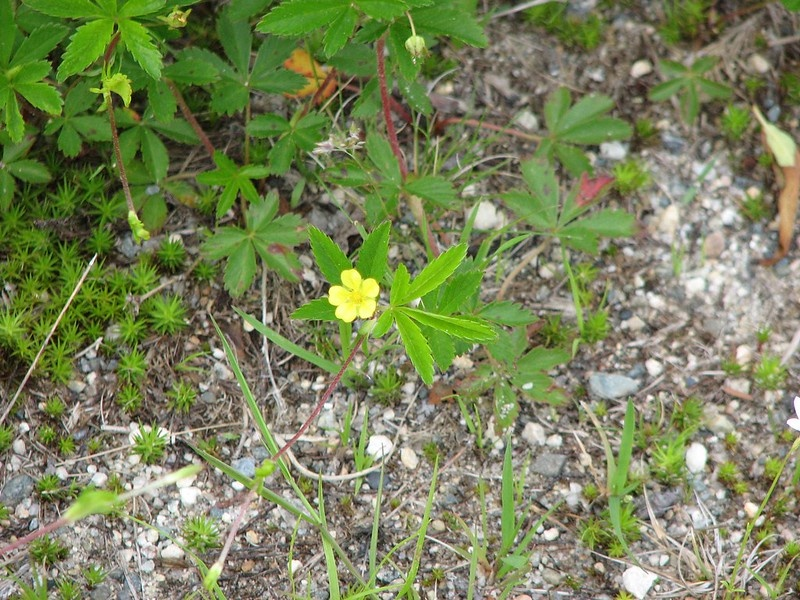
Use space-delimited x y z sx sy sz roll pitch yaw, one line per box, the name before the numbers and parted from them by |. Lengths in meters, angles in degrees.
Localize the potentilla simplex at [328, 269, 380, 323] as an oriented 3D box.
potentilla simplex | -0.166 -0.023 2.765 0.220 0.074 0.251 -12 43 -28
